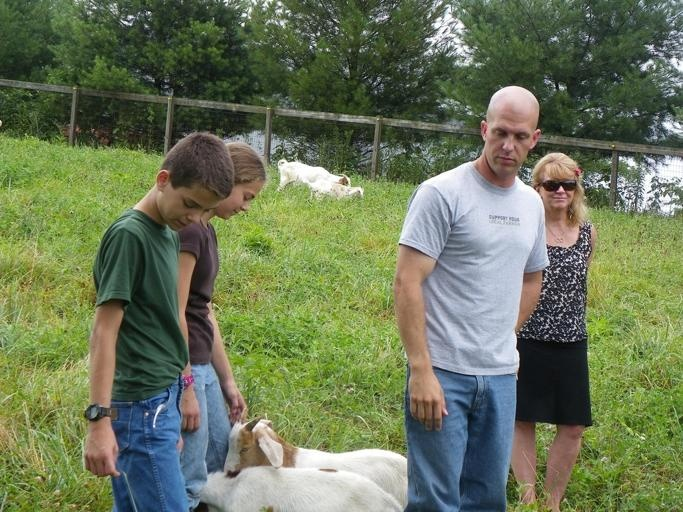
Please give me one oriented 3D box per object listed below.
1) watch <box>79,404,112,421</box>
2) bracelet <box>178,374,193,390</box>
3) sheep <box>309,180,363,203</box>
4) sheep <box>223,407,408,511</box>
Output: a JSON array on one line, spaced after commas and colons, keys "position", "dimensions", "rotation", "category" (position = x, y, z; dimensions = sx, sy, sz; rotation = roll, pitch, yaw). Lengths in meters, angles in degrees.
[{"position": [-1.050, 0.676, 2.578], "dimensions": [0.099, 0.069, 0.096], "rotation": [1, -12, -2], "category": "watch"}, {"position": [-0.800, 0.653, 3.076], "dimensions": [0.073, 0.064, 0.074], "rotation": [2, -7, -24], "category": "bracelet"}, {"position": [-0.089, -1.292, 11.746], "dimensions": [0.997, 0.450, 0.562], "rotation": [2, 7, 0], "category": "sheep"}, {"position": [-0.101, 1.269, 3.742], "dimensions": [1.207, 0.751, 0.508], "rotation": [7, -13, -5], "category": "sheep"}]
